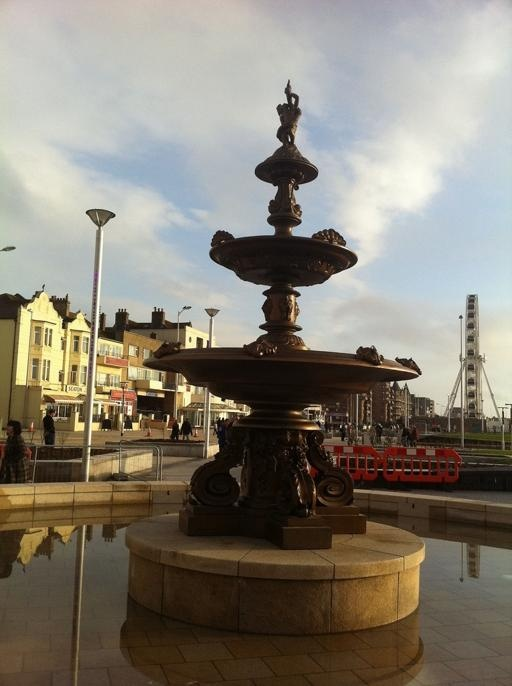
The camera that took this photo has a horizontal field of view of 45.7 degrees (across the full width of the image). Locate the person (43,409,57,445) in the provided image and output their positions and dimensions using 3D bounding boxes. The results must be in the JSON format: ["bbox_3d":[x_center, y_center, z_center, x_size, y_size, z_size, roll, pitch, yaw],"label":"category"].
[{"bbox_3d":[-7.332,3.009,21.558,0.434,1.401,2.261,5,-5,-19],"label":"person"}]
